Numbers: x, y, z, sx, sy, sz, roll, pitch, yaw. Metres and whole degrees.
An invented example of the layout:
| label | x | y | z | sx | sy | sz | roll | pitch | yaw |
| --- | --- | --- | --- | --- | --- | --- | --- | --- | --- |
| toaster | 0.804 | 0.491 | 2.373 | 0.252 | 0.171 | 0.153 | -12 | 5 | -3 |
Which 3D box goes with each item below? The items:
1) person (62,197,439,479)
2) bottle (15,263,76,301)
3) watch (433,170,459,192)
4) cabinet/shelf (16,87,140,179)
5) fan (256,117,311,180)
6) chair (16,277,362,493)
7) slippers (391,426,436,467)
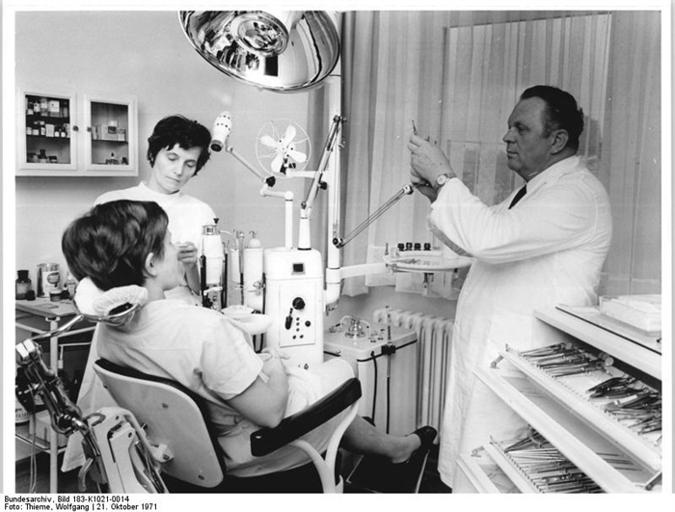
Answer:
| label | x | y | z | sx | sy | sz | roll | pitch | yaw |
| --- | --- | --- | --- | --- | --- | --- | --- | --- | --- |
| person | -0.228 | 0.345 | 1.974 | 1.196 | 0.919 | 0.636 | 2 | -11 | -41 |
| bottle | -1.027 | 0.091 | 1.987 | 0.162 | 0.100 | 0.102 | -1 | 10 | -15 |
| watch | 0.360 | -0.255 | 1.881 | 0.077 | 0.050 | 0.081 | -27 | -13 | 10 |
| cabinet/shelf | -0.961 | -0.452 | 2.048 | 0.367 | 0.265 | 0.096 | -2 | 5 | -37 |
| fan | -0.232 | -0.456 | 2.390 | 0.235 | 0.251 | 0.448 | 0 | 6 | -3 |
| chair | -0.372 | 0.584 | 1.878 | 0.570 | 0.870 | 0.600 | -28 | 28 | -35 |
| slippers | 0.300 | 0.714 | 2.137 | 0.077 | 0.056 | 0.216 | 9 | 25 | 32 |
